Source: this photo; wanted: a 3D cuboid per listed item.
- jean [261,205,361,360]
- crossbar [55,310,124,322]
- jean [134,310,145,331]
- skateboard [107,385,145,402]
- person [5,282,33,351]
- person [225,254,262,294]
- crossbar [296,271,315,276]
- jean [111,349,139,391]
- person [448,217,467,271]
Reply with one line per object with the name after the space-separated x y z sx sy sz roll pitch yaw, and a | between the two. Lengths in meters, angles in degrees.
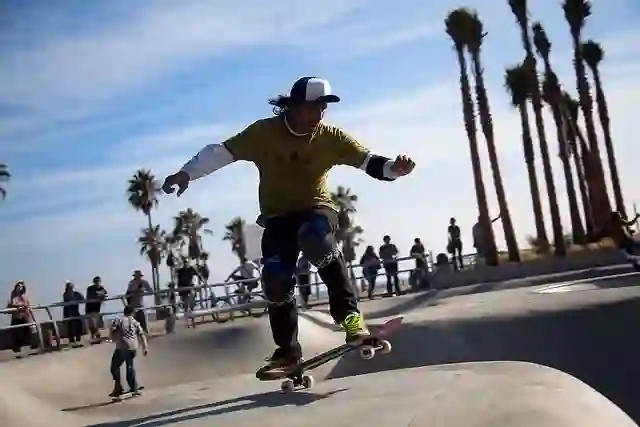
-0.301 0.963 8.564 0.891 2.436 1.412 0 -1 -21 | jean
-5.214 2.291 13.858 1.151 0.063 0.532 -2 -10 -44 | crossbar
-4.011 2.393 14.073 0.173 0.433 0.495 -8 -7 -18 | jean
-3.391 3.219 11.110 0.668 0.130 0.212 -8 32 -31 | skateboard
-6.373 2.191 13.390 0.478 1.456 1.673 -7 -7 -26 | person
-2.085 1.733 17.037 0.990 1.246 0.626 -2 -18 -18 | person
-0.457 1.681 17.264 0.664 0.113 0.063 -2 15 -20 | crossbar
-3.506 2.828 11.325 0.457 0.756 0.254 -8 -6 -17 | jean
4.567 1.040 21.065 0.380 1.295 1.160 -11 -7 13 | person
